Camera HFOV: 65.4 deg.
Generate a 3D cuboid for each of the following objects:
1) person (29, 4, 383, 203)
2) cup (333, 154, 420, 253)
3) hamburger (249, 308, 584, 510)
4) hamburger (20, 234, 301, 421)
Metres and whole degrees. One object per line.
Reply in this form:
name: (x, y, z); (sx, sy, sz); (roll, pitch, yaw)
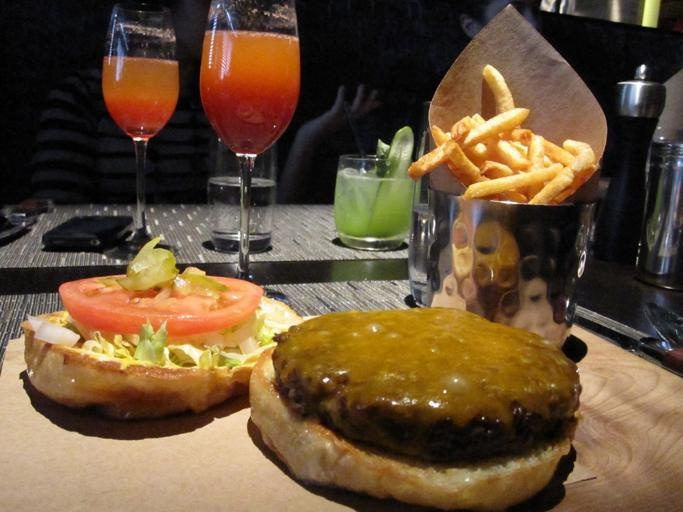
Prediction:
person: (-0.694, -0.651, 2.494); (1.192, 0.470, 0.921); (2, 20, -2)
cup: (0.068, -0.161, 1.512); (0.224, 0.260, 0.243); (0, 8, 0)
hamburger: (0.080, 0.176, 0.670); (0.428, 0.184, 0.205); (6, 15, 16)
hamburger: (-0.266, 0.108, 0.769); (0.315, 0.163, 0.252); (-5, 14, -38)
